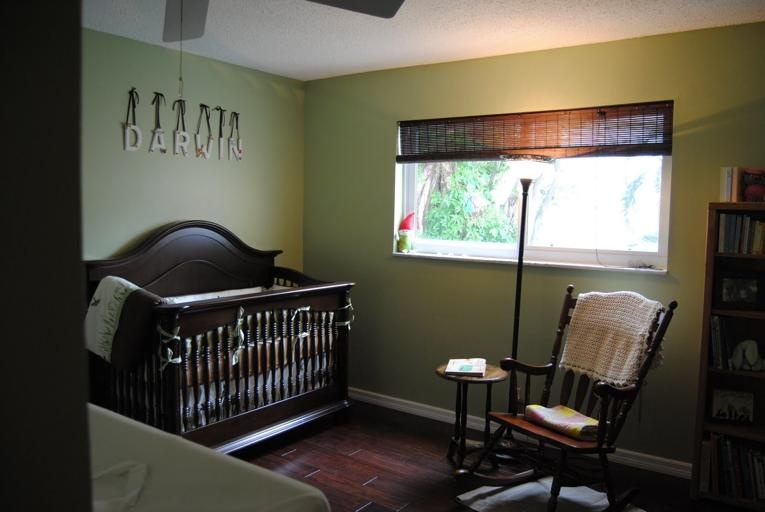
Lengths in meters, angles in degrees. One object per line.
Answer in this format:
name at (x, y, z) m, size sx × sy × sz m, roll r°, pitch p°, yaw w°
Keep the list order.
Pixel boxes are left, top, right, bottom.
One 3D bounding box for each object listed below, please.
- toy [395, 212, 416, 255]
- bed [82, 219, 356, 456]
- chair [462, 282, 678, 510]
toy at (0.182, -0.179, 4.100) m, size 0.147 × 0.298 × 0.121 m, roll 0°, pitch 5°, yaw -14°
bed at (-0.949, 0.471, 3.458) m, size 0.899 × 1.144 × 1.586 m, roll 1°, pitch 1°, yaw 30°
chair at (1.021, 0.730, 2.897) m, size 0.833 × 1.087 × 0.991 m, roll 2°, pitch 5°, yaw 18°
